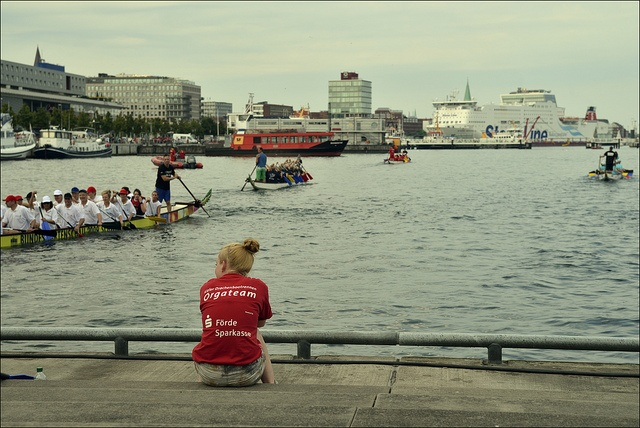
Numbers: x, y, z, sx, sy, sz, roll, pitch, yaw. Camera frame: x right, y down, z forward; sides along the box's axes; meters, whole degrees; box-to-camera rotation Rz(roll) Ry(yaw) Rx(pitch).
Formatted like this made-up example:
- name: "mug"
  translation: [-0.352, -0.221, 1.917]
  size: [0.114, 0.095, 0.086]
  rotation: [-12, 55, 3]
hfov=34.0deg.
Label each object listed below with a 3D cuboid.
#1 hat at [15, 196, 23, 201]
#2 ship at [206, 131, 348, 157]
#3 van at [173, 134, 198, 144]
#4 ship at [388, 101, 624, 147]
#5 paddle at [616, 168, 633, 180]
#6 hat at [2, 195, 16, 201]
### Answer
- name: "hat"
  translation: [-10.147, -0.529, 35.283]
  size: [0.221, 0.153, 0.305]
  rotation: [-1, 1, -23]
- name: "ship"
  translation: [-5.473, -7.593, 115.783]
  size: [16.268, 3.694, 10.966]
  rotation: [2, 10, 3]
- name: "van"
  translation: [-22.808, -12.276, 174.287]
  size: [3.627, 1.491, 2.101]
  rotation: [-1, 5, 2]
- name: "ship"
  translation: [34.819, -15.729, 186.792]
  size: [51.747, 8.171, 16.605]
  rotation: [-7, 13, -40]
- name: "paddle"
  translation: [21.081, -2.769, 72.454]
  size: [1.019, 0.533, 1.221]
  rotation: [4, 9, 26]
- name: "hat"
  translation: [-10.305, -0.528, 34.492]
  size: [0.321, 0.157, 0.189]
  rotation: [2, 10, 1]
